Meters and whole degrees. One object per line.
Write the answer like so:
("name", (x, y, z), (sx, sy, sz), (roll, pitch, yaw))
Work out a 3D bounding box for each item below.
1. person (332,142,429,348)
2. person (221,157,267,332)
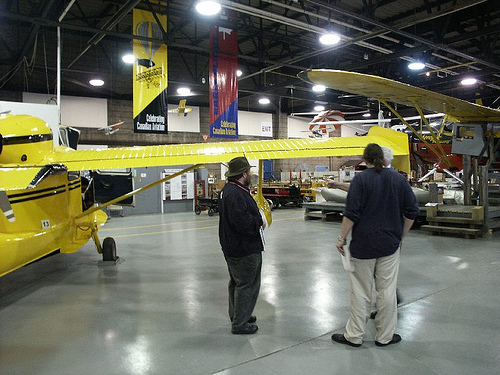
("person", (1.422, 0.658, 4.431), (0.887, 2.329, 0.418), (0, 6, 10))
("person", (-0.073, 0.708, 4.738), (0.553, 2.182, 0.491), (-1, 6, 1))
